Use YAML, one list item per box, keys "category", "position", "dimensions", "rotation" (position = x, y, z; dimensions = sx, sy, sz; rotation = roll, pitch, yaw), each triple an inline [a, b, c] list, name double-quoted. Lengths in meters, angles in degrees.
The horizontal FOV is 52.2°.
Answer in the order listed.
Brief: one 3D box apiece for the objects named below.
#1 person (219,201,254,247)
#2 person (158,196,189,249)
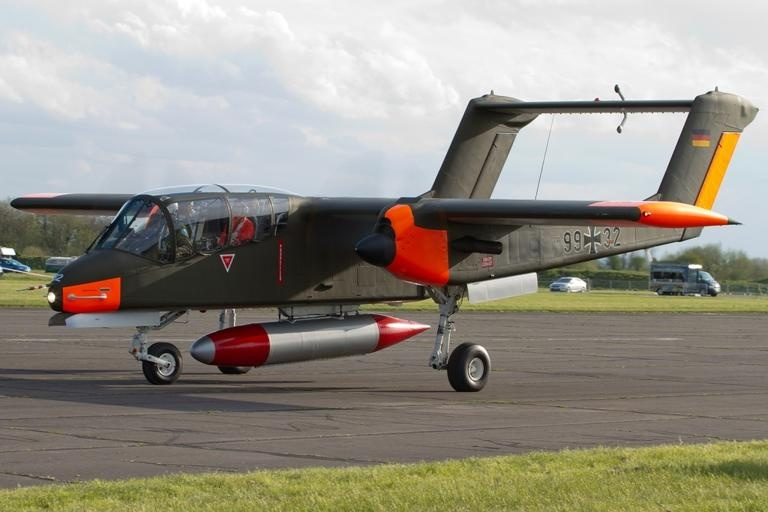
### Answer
- category: "person"
  position: [-3.143, -0.703, 17.207]
  dimensions: [0.917, 0.851, 0.999]
  rotation: [9, 19, -5]
- category: "person"
  position: [-4.362, -0.667, 16.566]
  dimensions: [0.420, 1.025, 0.400]
  rotation: [-9, 8, 6]
